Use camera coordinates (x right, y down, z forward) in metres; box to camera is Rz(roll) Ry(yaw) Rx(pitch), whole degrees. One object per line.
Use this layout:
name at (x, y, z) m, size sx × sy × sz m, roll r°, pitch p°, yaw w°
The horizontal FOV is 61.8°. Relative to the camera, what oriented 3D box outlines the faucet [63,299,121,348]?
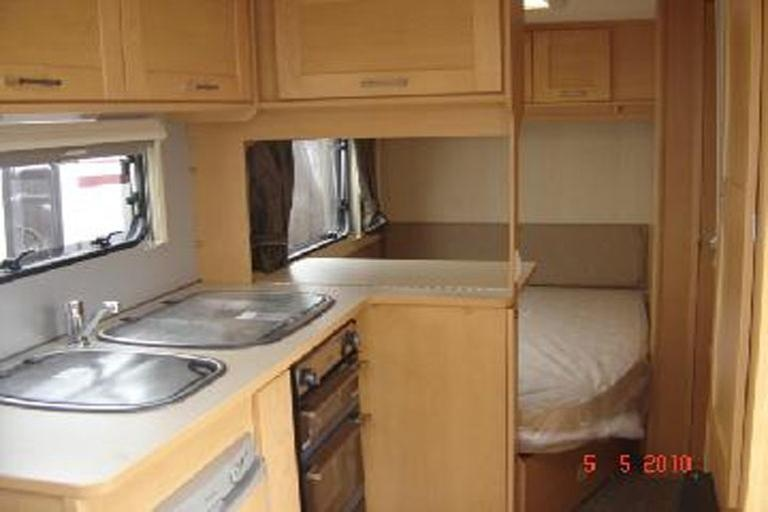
faucet at (-0.896, 0.196, 2.052) m, size 0.291 × 0.103 × 0.088 m, roll -9°, pitch -3°, yaw 28°
